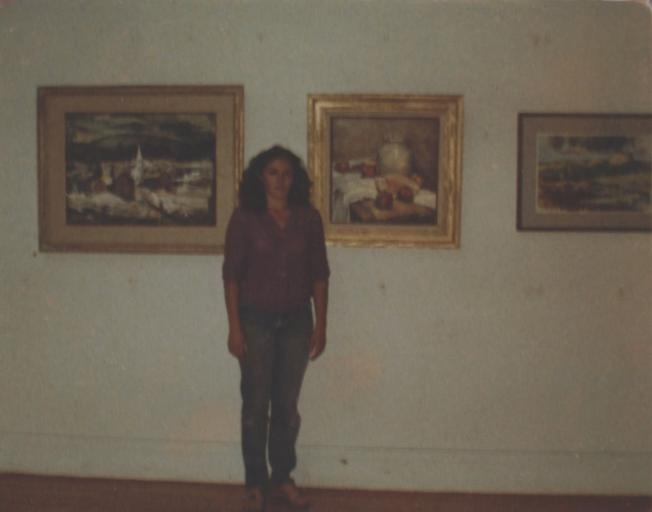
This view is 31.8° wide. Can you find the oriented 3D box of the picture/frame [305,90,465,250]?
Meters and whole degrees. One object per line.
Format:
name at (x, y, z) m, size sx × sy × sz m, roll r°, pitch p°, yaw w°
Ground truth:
picture/frame at (0.315, -0.502, 6.187) m, size 0.730 × 0.805 × 0.056 m, roll 1°, pitch 3°, yaw 0°
